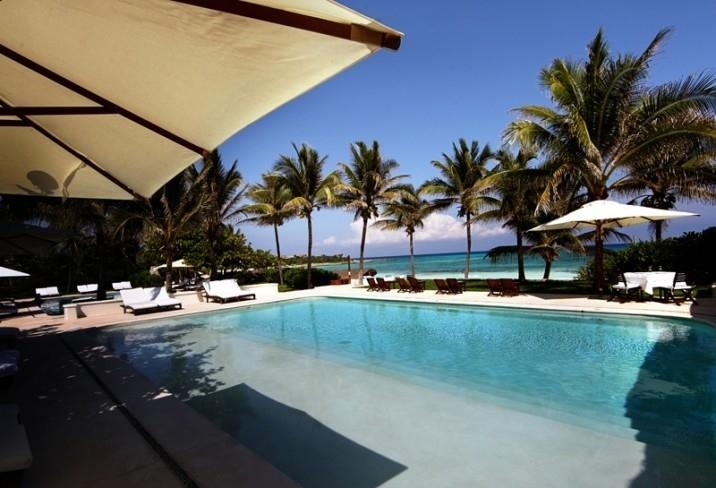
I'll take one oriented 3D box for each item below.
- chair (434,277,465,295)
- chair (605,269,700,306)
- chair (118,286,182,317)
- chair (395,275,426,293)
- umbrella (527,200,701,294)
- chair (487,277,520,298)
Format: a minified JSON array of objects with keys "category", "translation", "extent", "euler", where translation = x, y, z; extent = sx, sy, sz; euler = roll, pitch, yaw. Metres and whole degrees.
[{"category":"chair","translation":[3.839,1.780,16.949],"extent":[1.070,0.677,0.687],"euler":[0,4,40]},{"category":"chair","translation":[9.189,1.304,12.648],"extent":[2.091,0.940,1.960],"euler":[-1,0,-32]},{"category":"chair","translation":[-8.232,2.244,16.165],"extent":[1.924,0.873,1.643],"euler":[-1,0,-38]},{"category":"chair","translation":[2.591,1.859,18.818],"extent":[0.656,0.648,1.108],"euler":[2,2,36]},{"category":"umbrella","translation":[8.137,-0.169,13.837],"extent":[3.535,2.280,3.554],"euler":[-1,0,-1]},{"category":"chair","translation":[5.577,1.649,15.550],"extent":[1.035,0.690,0.712],"euler":[-2,3,34]}]
